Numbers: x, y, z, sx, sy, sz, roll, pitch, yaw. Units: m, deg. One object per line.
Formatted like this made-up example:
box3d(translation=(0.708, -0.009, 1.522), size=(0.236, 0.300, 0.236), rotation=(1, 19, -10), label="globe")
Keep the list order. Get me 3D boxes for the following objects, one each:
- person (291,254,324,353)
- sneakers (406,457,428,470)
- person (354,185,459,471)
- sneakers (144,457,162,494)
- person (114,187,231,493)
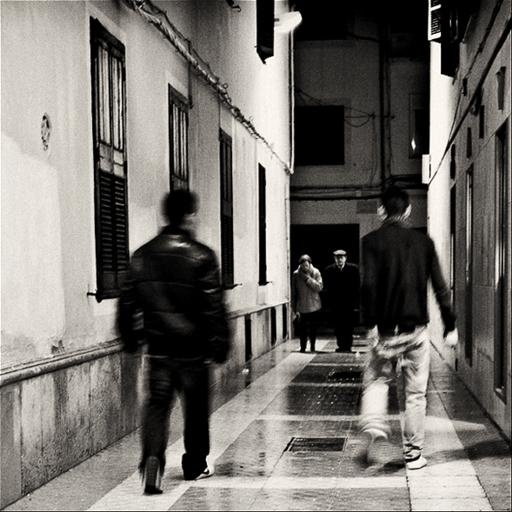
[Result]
box3d(translation=(0.875, 0.839, 14.740), size=(0.524, 1.251, 0.664), rotation=(-3, 1, 2), label="person")
box3d(translation=(1.118, 1.442, 5.946), size=(0.154, 0.065, 0.144), rotation=(-5, 1, 2), label="sneakers")
box3d(translation=(1.018, 0.496, 6.014), size=(0.741, 1.337, 0.494), rotation=(-4, 2, -9), label="person")
box3d(translation=(-0.640, 1.376, 5.425), size=(0.070, 0.212, 0.255), rotation=(4, -6, 6), label="sneakers")
box3d(translation=(-0.535, 0.542, 5.467), size=(0.707, 1.615, 0.342), rotation=(-4, 2, -13), label="person")
